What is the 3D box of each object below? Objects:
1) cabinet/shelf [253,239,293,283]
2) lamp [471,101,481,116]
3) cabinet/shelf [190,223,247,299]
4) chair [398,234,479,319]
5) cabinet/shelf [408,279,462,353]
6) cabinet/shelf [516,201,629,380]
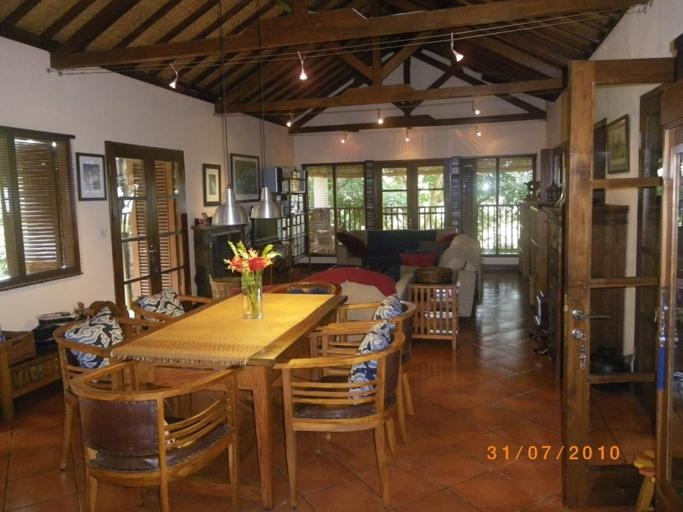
[{"bbox_3d":[-0.987,0.087,8.112,0.256,0.690,0.773,0,7,11],"label":"cabinet/shelf"},{"bbox_3d":[2.598,-2.836,10.334,0.171,0.319,0.960,2,13,13],"label":"lamp"},{"bbox_3d":[-1.660,0.075,7.174,0.306,0.929,1.140,2,3,13],"label":"cabinet/shelf"},{"bbox_3d":[1.307,0.145,7.081,0.951,0.772,1.689,0,5,15],"label":"chair"},{"bbox_3d":[1.037,0.627,6.332,0.702,0.842,0.948,0,1,14],"label":"cabinet/shelf"},{"bbox_3d":[1.887,0.310,4.428,0.357,1.059,2.000,0,2,12],"label":"cabinet/shelf"}]
